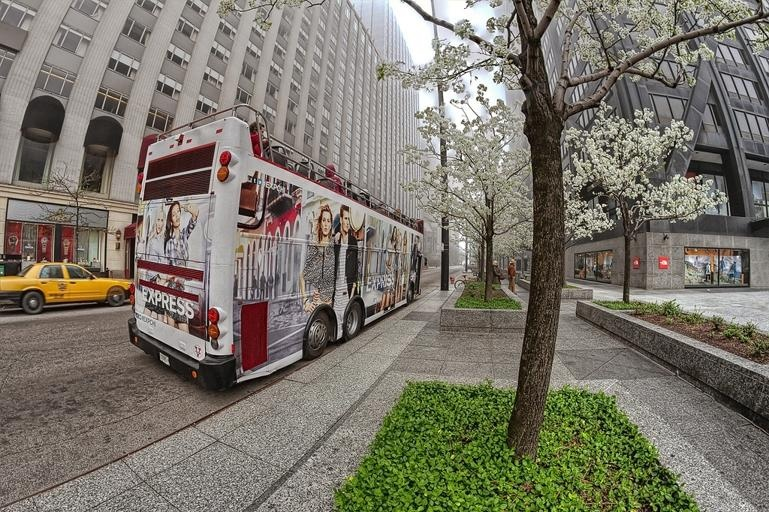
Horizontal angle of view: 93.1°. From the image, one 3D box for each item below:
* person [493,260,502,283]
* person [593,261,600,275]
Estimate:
[{"bbox_3d":[10.603,1.447,34.983,0.576,0.778,1.960,-10,-45,13],"label":"person"},{"bbox_3d":[18.363,1.183,31.916,0.599,1.298,0.656,3,-9,14],"label":"person"}]
